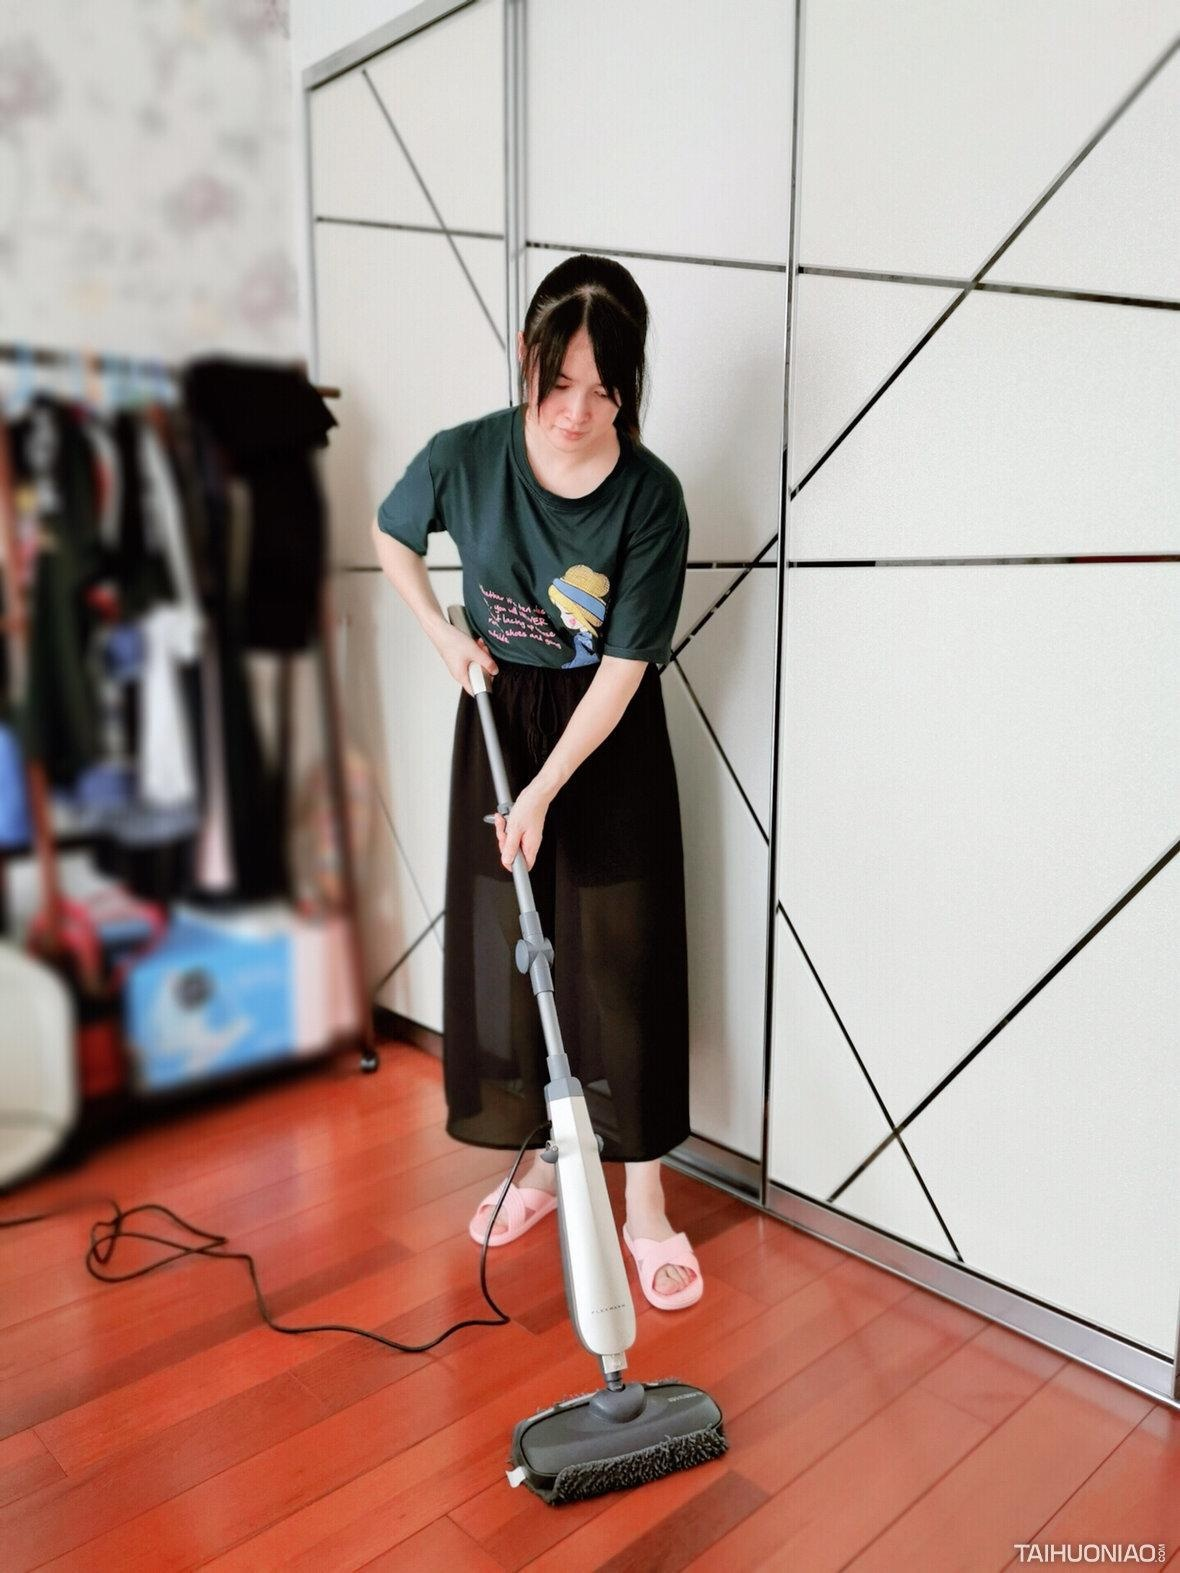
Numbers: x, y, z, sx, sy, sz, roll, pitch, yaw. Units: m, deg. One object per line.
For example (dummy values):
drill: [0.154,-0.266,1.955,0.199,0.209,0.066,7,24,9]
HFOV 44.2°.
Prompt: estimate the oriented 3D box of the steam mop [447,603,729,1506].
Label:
steam mop: [0.012,0.274,1.407,0.237,0.676,0.339,0,7,-6]

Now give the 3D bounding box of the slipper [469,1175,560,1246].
slipper: [-0.096,0.523,1.790,0.067,0.070,0.140,5,11,41]
